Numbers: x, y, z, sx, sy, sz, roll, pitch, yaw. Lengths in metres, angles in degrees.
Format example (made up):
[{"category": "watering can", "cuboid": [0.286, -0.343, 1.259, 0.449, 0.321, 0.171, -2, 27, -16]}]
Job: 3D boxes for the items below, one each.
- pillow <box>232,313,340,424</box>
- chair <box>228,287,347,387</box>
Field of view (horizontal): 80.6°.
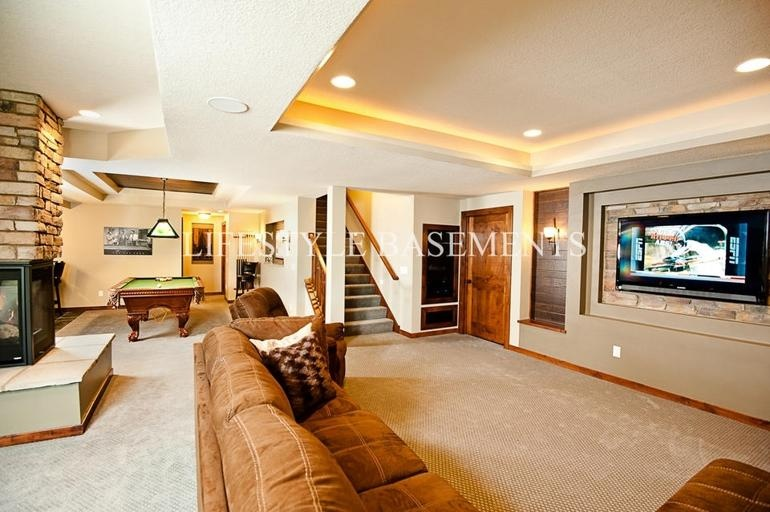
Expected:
[{"category": "pillow", "cuboid": [-0.789, 0.986, 4.067, 0.284, 0.884, 0.924, -39, -23, 24]}, {"category": "chair", "cuboid": [-1.188, 1.018, 5.174, 1.341, 1.103, 1.285, -3, 8, -15]}]
